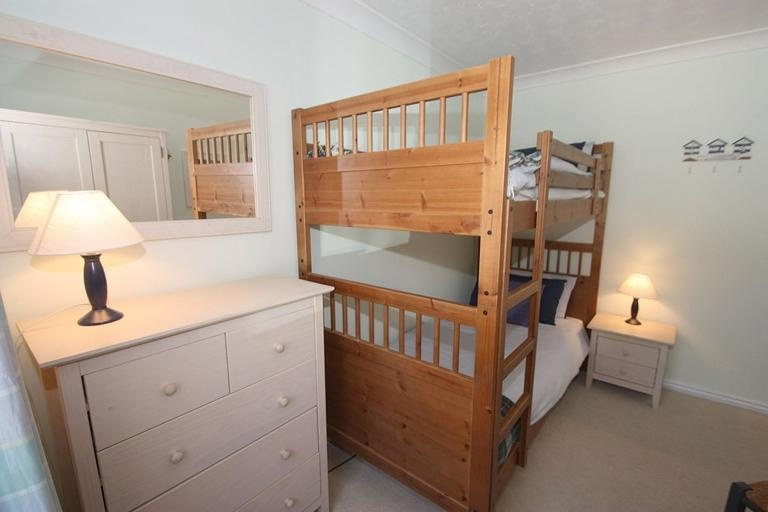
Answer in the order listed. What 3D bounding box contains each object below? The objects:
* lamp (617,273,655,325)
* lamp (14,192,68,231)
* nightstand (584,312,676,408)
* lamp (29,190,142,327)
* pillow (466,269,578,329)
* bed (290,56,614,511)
[{"bbox_3d":[2.185,0.373,4.383,0.288,0.427,0.289,1,8,-36],"label":"lamp"},{"bbox_3d":[-1.892,-0.254,2.824,0.186,0.163,0.268,1,5,-16],"label":"lamp"},{"bbox_3d":[2.159,0.883,4.431,0.676,0.603,0.513,8,19,27],"label":"nightstand"},{"bbox_3d":[-1.575,0.034,2.787,0.492,0.658,0.461,-10,-2,-10],"label":"lamp"},{"bbox_3d":[1.442,0.392,4.515,0.702,0.560,0.198,3,-28,26],"label":"pillow"},{"bbox_3d":[0.242,0.170,3.325,1.794,2.655,1.045,2,12,13],"label":"bed"}]
